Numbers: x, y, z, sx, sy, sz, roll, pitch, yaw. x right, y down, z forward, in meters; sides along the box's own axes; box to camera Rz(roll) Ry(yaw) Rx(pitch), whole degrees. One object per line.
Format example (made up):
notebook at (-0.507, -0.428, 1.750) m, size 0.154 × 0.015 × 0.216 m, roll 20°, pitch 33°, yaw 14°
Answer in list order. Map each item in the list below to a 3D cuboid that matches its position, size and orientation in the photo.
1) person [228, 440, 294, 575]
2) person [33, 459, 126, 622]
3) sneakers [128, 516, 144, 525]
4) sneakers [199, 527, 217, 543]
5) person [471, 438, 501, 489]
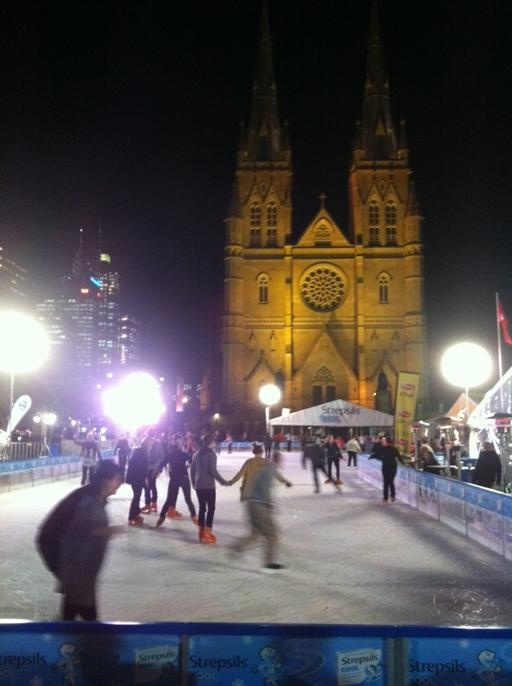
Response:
person at (0.055, 2.461, 10.769) m, size 0.855 × 1.704 × 2.824 m, roll 1°, pitch -8°, yaw -1°
person at (-1.296, 1.477, 5.051) m, size 0.633 × 1.189 × 0.436 m, roll 3°, pitch -7°, yaw -21°
sneakers at (-2.377, 3.582, 13.592) m, size 0.254 × 0.209 × 0.150 m, roll -5°, pitch 8°, yaw -23°
sneakers at (-0.808, 3.254, 11.553) m, size 0.134 × 0.288 × 0.380 m, roll 1°, pitch 0°, yaw 18°
person at (4.276, 2.278, 12.630) m, size 0.496 × 0.847 × 0.846 m, roll -2°, pitch -8°, yaw 18°
